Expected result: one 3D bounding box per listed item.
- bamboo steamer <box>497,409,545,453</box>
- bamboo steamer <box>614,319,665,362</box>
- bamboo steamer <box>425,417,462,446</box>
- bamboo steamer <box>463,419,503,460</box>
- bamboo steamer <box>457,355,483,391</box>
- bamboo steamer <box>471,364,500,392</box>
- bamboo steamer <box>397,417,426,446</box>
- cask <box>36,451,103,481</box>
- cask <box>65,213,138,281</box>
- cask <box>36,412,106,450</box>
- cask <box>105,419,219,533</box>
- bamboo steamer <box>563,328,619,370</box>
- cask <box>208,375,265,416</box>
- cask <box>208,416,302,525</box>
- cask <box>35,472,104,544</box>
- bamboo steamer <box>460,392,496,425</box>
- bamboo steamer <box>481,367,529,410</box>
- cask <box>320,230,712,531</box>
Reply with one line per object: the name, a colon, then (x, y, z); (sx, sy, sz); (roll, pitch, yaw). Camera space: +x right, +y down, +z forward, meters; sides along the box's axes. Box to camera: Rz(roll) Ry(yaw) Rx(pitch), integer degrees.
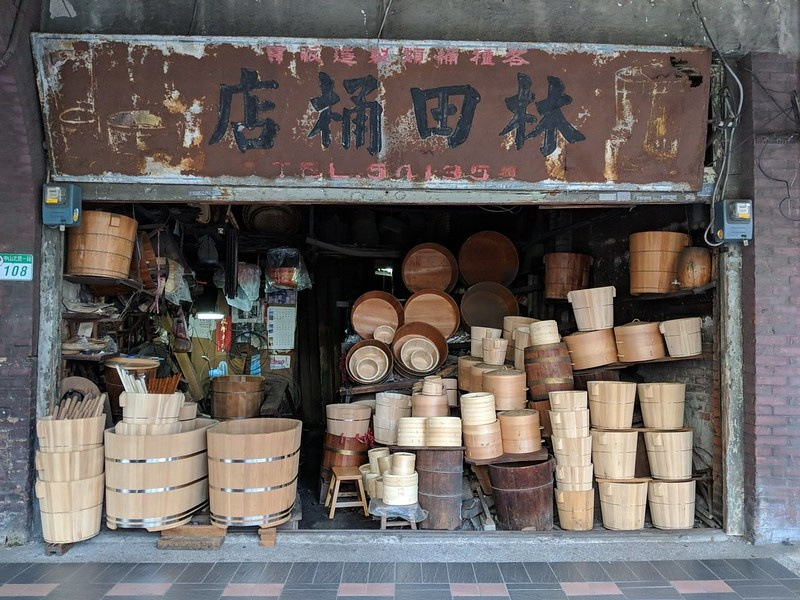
bamboo steamer: (1.155, 1.270, 8.064); (0.409, 0.365, 0.375); (-3, 1, -5)
bamboo steamer: (2.416, 0.403, 8.455); (0.469, 0.430, 0.438); (-8, 0, 2)
bamboo steamer: (0.417, 1.244, 7.938); (0.283, 0.203, 0.289); (-5, -8, 34)
bamboo steamer: (0.821, 1.355, 8.123); (0.410, 0.302, 0.414); (-7, 2, 1)
bamboo steamer: (0.743, 0.801, 8.988); (0.315, 0.352, 0.323); (2, 1, 29)
bamboo steamer: (0.891, 0.817, 8.688); (0.285, 0.250, 0.286); (2, -1, 0)
bamboo steamer: (0.113, 1.291, 8.077); (0.258, 0.198, 0.246); (-3, -6, 9)
cask: (-2.922, 1.453, 7.355); (0.366, 0.134, 0.307); (1, -5, -6)
cask: (-2.949, -0.494, 8.116); (0.667, 0.585, 0.738); (10, -11, -39)
cask: (-2.945, 1.185, 7.617); (0.624, 0.302, 0.621); (-3, -2, -16)
cask: (-2.291, 1.658, 7.905); (0.761, 0.878, 1.320); (-1, -4, 14)
bamboo steamer: (2.072, 0.511, 8.609); (0.454, 0.340, 0.470); (-13, -11, 33)
cask: (-1.846, 1.149, 9.435); (0.587, 0.445, 0.580); (1, 1, 35)
cask: (-1.372, 1.614, 7.806); (0.840, 0.853, 1.072); (0, -2, 26)
cask: (-2.875, 1.857, 7.433); (0.608, 0.470, 0.538); (-4, -5, 18)
bamboo steamer: (0.785, 1.049, 8.039); (0.307, 0.306, 0.229); (-3, 5, -23)
bamboo steamer: (1.057, 0.905, 8.387); (0.391, 0.348, 0.363); (-1, 0, -10)
cask: (2.101, 0.729, 8.268); (4.123, 2.518, 0.956); (-6, -9, 39)
